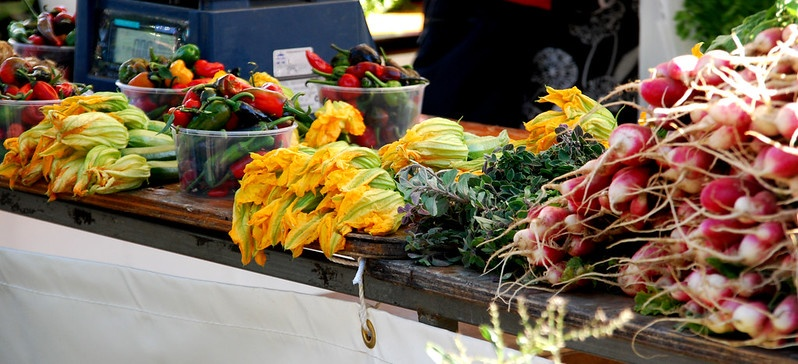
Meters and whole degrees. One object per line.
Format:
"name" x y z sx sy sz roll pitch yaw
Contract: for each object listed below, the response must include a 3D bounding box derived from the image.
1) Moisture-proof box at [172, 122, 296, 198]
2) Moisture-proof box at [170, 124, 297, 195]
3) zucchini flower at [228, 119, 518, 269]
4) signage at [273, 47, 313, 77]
"Moisture-proof box" -0.690 -0.082 2.334 0.393 0.157 0.360 -2 0 36
"Moisture-proof box" -0.706 -0.096 2.324 0.365 0.154 0.369 0 -3 -37
"zucchini flower" -0.106 0.055 2.218 0.907 0.307 0.542 -27 16 -29
"signage" -0.528 -0.586 2.837 0.211 0.117 0.025 -1 -4 -18
